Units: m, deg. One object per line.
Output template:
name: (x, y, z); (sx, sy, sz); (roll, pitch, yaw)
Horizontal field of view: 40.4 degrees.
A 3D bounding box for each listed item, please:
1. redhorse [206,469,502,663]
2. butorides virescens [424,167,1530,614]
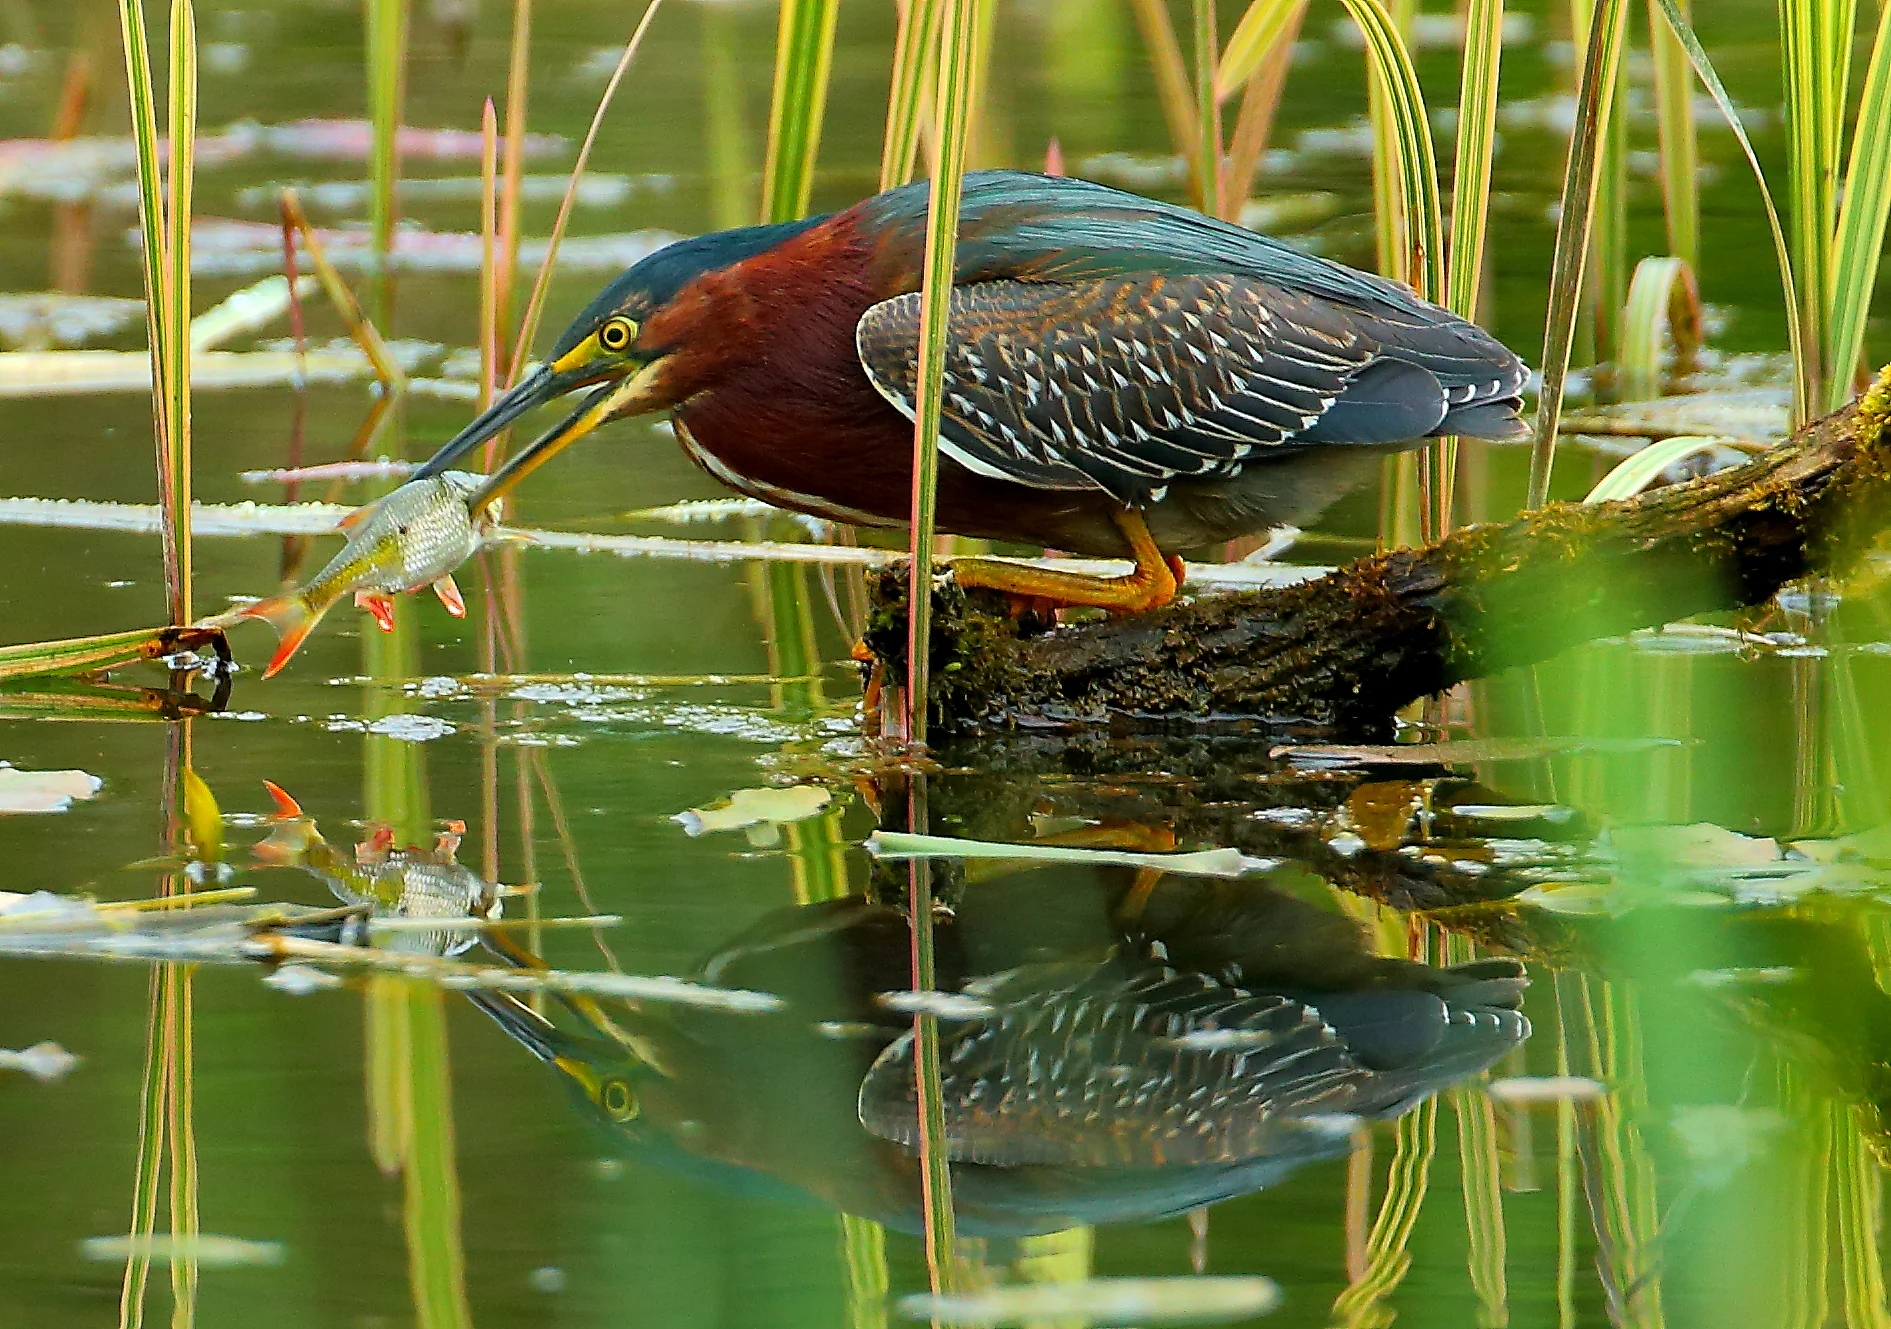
redhorse: (-1.281, -0.217, 5.679); (0.509, 0.383, 0.225); (-5, 6, -12)
butorides virescens: (-0.397, -0.668, 5.866); (3.413, 0.957, 0.910); (-2, 3, 9)
